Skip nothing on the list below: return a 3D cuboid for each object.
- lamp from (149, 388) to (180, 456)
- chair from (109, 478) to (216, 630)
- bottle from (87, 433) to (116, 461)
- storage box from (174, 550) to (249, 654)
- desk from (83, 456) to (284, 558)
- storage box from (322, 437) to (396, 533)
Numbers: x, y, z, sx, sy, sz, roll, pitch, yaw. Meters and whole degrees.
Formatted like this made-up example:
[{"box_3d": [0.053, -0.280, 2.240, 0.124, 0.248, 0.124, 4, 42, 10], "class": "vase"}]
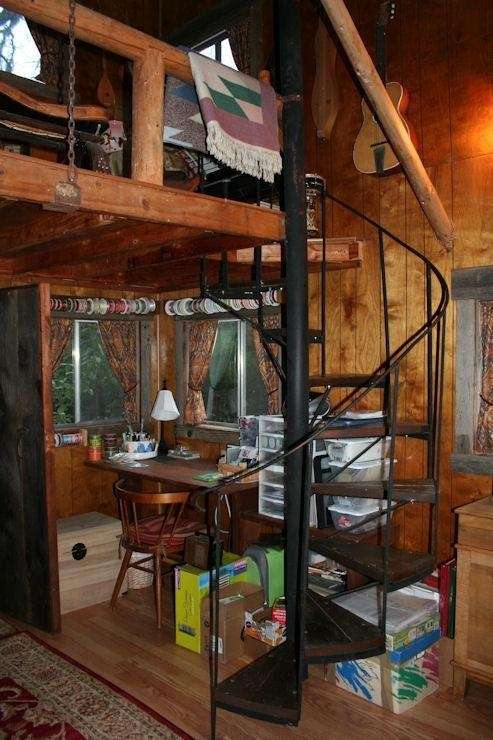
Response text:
[{"box_3d": [-0.682, 0.433, 5.219, 0.241, 0.556, 0.823, -1, 1, -7], "class": "lamp"}, {"box_3d": [-0.599, 1.161, 4.120, 0.574, 0.741, 0.632, 2, -3, -6], "class": "chair"}, {"box_3d": [-1.183, 0.613, 5.029, 0.202, 0.217, 0.196, -2, 5, -24], "class": "bottle"}, {"box_3d": [-0.203, 1.396, 3.746, 0.229, 0.463, 0.449, 1, 2, 40], "class": "storage box"}, {"box_3d": [-0.404, 0.926, 4.151, 0.514, 0.526, 1.008, 4, -2, -43], "class": "desk"}, {"box_3d": [0.608, 0.656, 3.411, 0.363, 0.553, 0.608, 0, 1, 11], "class": "storage box"}]
